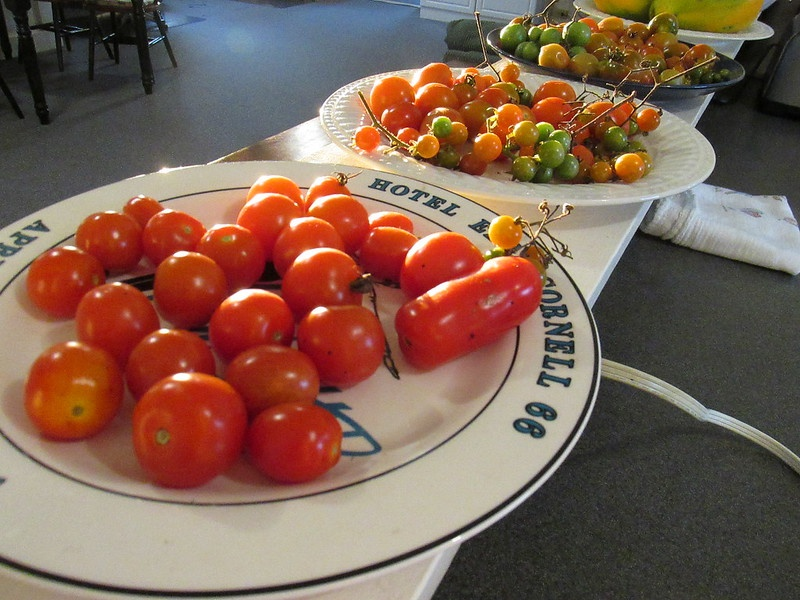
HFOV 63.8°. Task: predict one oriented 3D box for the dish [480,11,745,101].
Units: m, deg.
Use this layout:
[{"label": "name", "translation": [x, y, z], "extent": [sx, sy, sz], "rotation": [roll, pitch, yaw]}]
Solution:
[{"label": "dish", "translation": [0.533, -0.589, 1.559], "extent": [0.431, 0.092, 0.407], "rotation": [-25, 46, -36]}]
